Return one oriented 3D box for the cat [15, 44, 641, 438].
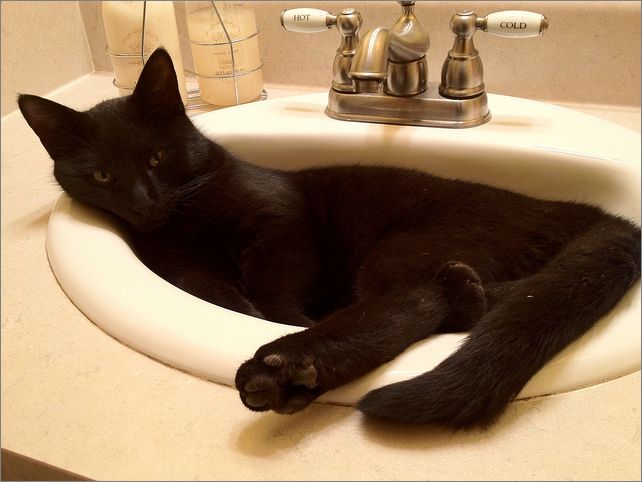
[{"bbox_3d":[0.017,-0.009,0.940,0.798,0.525,0.346,2,72,-23],"label":"cat"}]
